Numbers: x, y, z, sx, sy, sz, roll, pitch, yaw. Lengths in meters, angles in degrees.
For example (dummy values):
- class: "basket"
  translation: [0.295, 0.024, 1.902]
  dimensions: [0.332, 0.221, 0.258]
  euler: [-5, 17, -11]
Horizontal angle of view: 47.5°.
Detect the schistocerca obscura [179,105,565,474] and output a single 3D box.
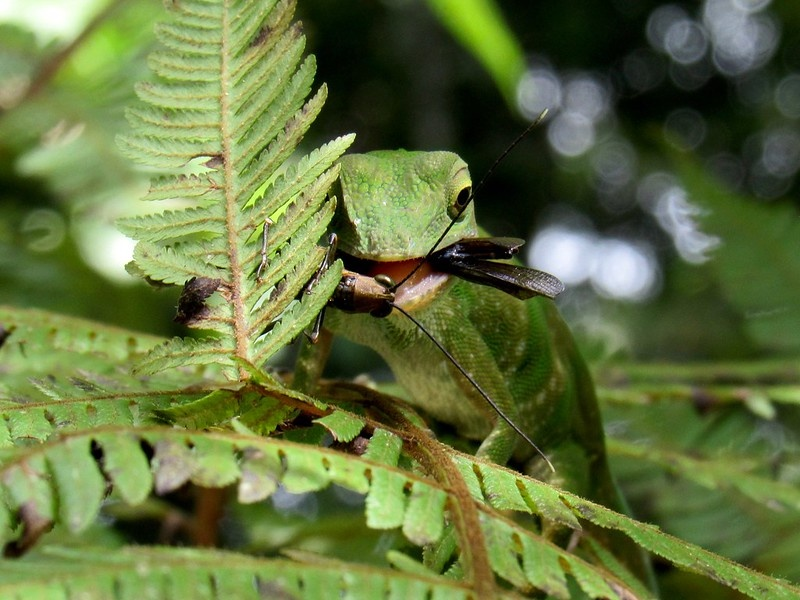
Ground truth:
- class: "schistocerca obscura"
  translation: [-0.076, -0.050, 2.877]
  dimensions: [0.935, 1.149, 0.876]
  euler: [-2, 3, -2]
